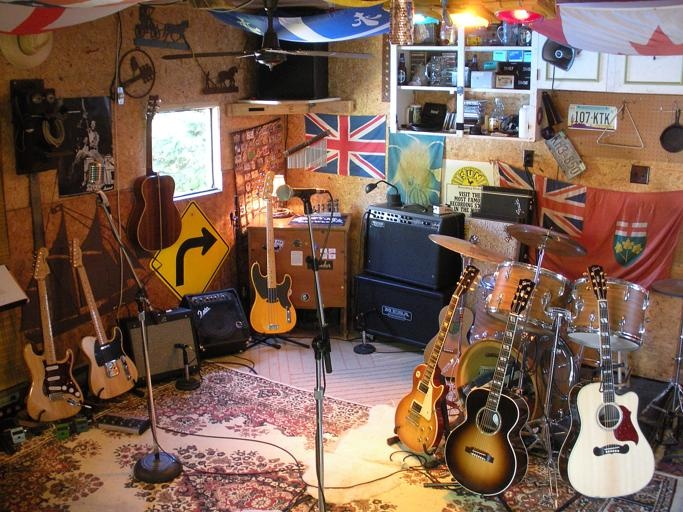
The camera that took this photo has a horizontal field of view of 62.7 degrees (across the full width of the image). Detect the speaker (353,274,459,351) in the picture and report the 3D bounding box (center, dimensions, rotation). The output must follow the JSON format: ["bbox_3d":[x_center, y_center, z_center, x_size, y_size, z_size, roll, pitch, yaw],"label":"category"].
[{"bbox_3d":[0.721,0.396,6.041,1.138,0.839,0.705,12,27,30],"label":"speaker"}]

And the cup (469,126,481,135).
[{"bbox_3d":[1.326,-1.250,5.567,0.091,0.072,0.094,1,6,0],"label":"cup"}]

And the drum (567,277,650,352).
[{"bbox_3d":[2.013,0.433,4.416,0.561,0.449,0.578,12,-10,2],"label":"drum"}]

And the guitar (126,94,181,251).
[{"bbox_3d":[-1.847,-0.768,5.490,0.217,1.562,0.503,11,16,35],"label":"guitar"}]

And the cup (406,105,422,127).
[{"bbox_3d":[0.783,-1.525,6.037,0.237,0.279,0.161,0,8,0],"label":"cup"}]

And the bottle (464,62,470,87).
[{"bbox_3d":[1.240,-1.766,5.518,0.070,0.194,0.098,4,14,11],"label":"bottle"}]

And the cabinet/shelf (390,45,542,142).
[{"bbox_3d":[1.220,-1.663,5.688,1.541,0.874,0.494,7,15,20],"label":"cabinet/shelf"}]

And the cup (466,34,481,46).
[{"bbox_3d":[1.260,-2.065,5.371,0.101,0.110,0.109,-4,12,1],"label":"cup"}]

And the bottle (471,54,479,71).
[{"bbox_3d":[1.323,-1.922,5.560,0.090,0.178,0.238,5,14,11],"label":"bottle"}]

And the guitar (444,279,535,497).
[{"bbox_3d":[1.118,1.016,3.927,0.591,1.188,0.491,-10,18,-41],"label":"guitar"}]

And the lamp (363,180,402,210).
[{"bbox_3d":[0.450,-0.685,6.156,0.542,0.384,0.214,-6,7,-32],"label":"lamp"}]

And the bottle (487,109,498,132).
[{"bbox_3d":[1.497,-1.341,5.604,0.085,0.207,0.144,-3,15,-21],"label":"bottle"}]

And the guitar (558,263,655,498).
[{"bbox_3d":[1.784,0.941,3.818,0.629,1.256,0.646,-8,17,-35],"label":"guitar"}]

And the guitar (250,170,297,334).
[{"bbox_3d":[-0.728,0.013,6.028,0.471,1.808,0.681,1,14,-5],"label":"guitar"}]

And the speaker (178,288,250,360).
[{"bbox_3d":[-1.345,0.682,6.070,0.619,0.668,0.671,-6,5,-34],"label":"speaker"}]

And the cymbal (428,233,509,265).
[{"bbox_3d":[1.082,-0.058,4.751,0.400,0.096,0.404,25,18,27],"label":"cymbal"}]

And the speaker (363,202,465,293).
[{"bbox_3d":[0.826,-0.213,6.045,1.220,0.949,0.791,13,22,38],"label":"speaker"}]

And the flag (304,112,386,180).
[{"bbox_3d":[0.078,-1.288,6.474,0.734,0.570,0.034,13,27,26],"label":"flag"}]

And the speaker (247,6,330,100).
[{"bbox_3d":[-0.545,-2.334,6.611,0.925,0.984,0.969,5,11,14],"label":"speaker"}]
